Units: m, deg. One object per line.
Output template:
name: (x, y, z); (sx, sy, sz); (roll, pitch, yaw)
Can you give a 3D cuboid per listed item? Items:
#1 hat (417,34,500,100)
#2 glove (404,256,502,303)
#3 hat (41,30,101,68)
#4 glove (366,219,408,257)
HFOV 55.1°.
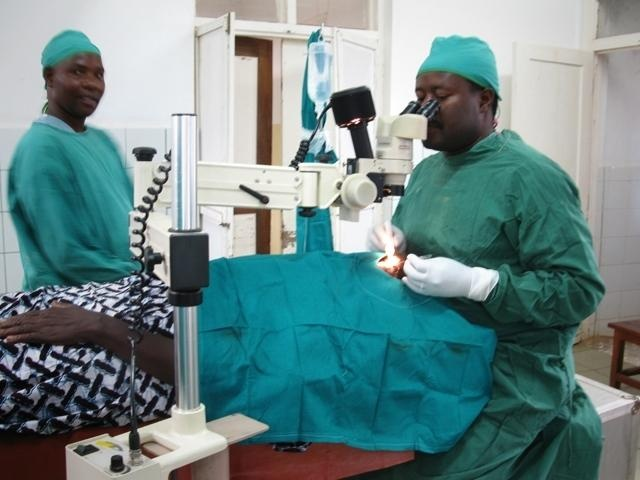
hat: (0.509, -0.682, 2.231); (0.187, 0.215, 0.261); (15, -13, 28)
glove: (0.441, 0.136, 2.076); (0.246, 0.160, 0.098); (6, -27, 14)
hat: (-1.308, -1.029, 3.235); (0.171, 0.169, 0.252); (-20, 2, 44)
glove: (0.270, -0.010, 2.505); (0.103, 0.149, 0.055); (-1, -16, 33)
